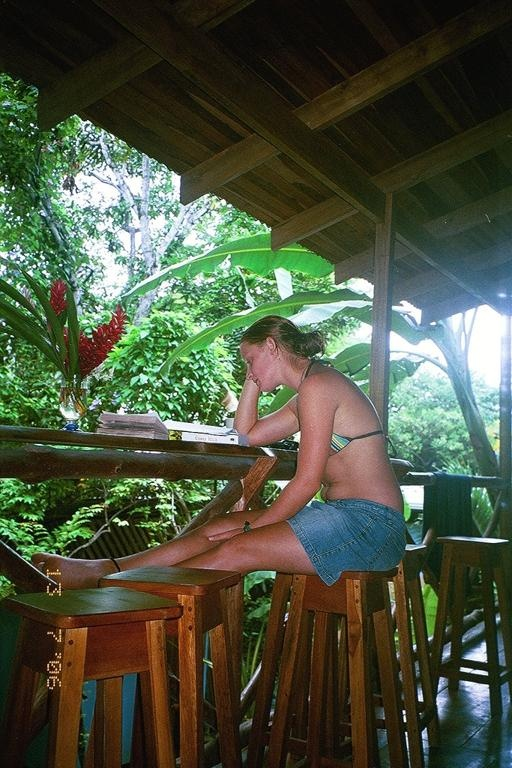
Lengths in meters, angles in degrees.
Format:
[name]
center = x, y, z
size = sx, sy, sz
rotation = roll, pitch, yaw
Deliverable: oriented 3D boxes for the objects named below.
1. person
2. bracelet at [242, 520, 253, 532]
[person]
center = -0.096, 0.214, 1.614
size = 1.045, 0.759, 0.408
rotation = -5, -4, -5
[bracelet]
center = -0.025, 0.406, 1.489
size = 0.022, 0.036, 0.018
rotation = 5, 2, 19
